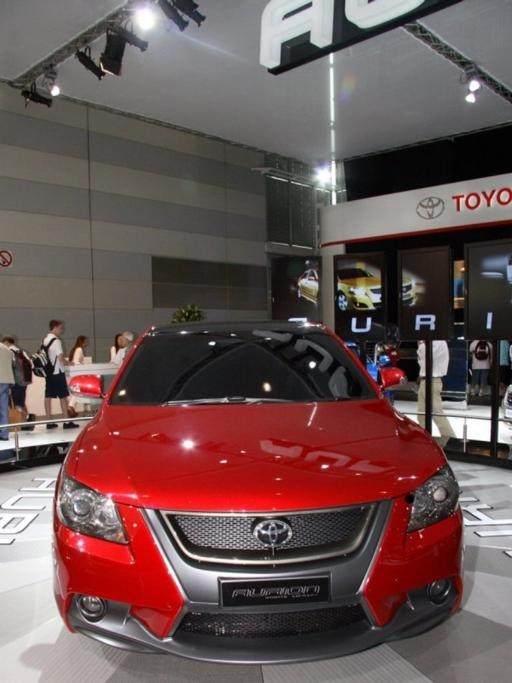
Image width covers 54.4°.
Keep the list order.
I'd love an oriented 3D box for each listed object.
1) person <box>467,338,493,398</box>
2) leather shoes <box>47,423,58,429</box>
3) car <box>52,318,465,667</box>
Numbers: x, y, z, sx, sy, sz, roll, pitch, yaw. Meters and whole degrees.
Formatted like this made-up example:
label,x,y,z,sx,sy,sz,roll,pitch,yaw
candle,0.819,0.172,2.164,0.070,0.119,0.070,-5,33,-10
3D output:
label,x,y,z,sx,sy,sz,roll,pitch,yaw
person,4.599,0.532,10.243,0.384,1.124,0.687,-3,-2,23
leather shoes,-2.715,1.106,6.607,0.090,0.060,0.122,0,3,1
car,0.012,0.406,1.876,0.955,0.634,1.582,-1,-5,-3
